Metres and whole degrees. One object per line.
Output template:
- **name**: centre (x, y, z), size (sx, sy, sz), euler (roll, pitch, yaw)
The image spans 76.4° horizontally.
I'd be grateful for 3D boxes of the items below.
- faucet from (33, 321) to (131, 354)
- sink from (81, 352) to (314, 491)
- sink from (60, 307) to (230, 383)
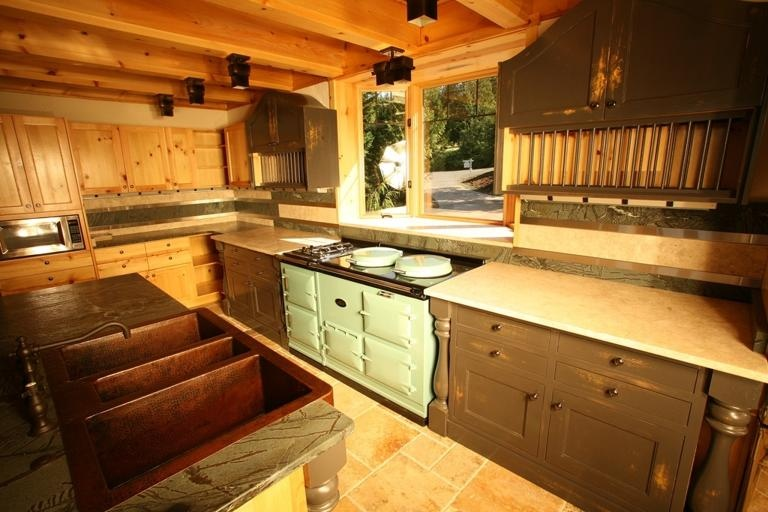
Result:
- **faucet**: centre (-1.663, 0.459, 2.703), size (0.517, 0.135, 0.092), euler (-11, 44, -21)
- **sink**: centre (-1.027, 0.820, 2.458), size (0.906, 0.456, 0.721), euler (-20, 27, -33)
- **sink**: centre (-1.456, 0.516, 2.842), size (0.687, 0.388, 0.436), euler (-16, 36, -35)
